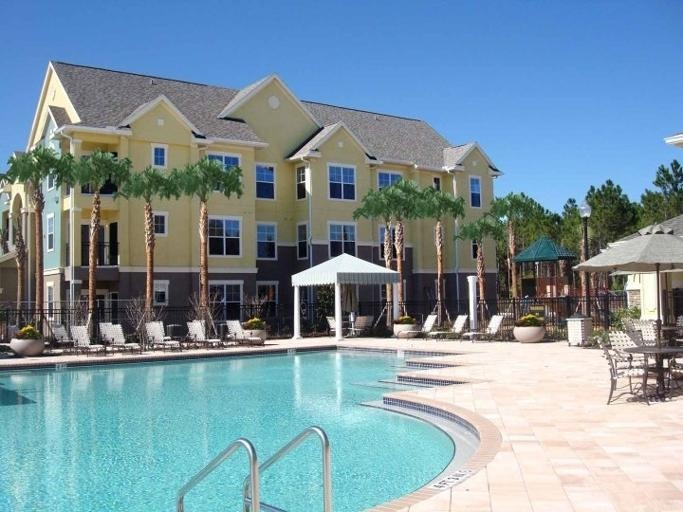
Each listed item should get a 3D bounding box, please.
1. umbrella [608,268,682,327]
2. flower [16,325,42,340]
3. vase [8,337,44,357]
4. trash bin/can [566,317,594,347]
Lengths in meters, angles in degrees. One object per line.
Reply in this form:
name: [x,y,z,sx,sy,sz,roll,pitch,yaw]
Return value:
umbrella: [12.476,1.735,25.324,2.319,1.990,2.235,1,-5,-19]
flower: [-13.232,3.288,26.255,0.692,0.589,0.755,-8,-9,29]
vase: [-13.105,3.801,25.907,1.189,0.741,0.583,-1,-4,0]
trash bin/can: [10.111,3.248,26.478,1.058,1.758,1.106,-2,-3,38]
